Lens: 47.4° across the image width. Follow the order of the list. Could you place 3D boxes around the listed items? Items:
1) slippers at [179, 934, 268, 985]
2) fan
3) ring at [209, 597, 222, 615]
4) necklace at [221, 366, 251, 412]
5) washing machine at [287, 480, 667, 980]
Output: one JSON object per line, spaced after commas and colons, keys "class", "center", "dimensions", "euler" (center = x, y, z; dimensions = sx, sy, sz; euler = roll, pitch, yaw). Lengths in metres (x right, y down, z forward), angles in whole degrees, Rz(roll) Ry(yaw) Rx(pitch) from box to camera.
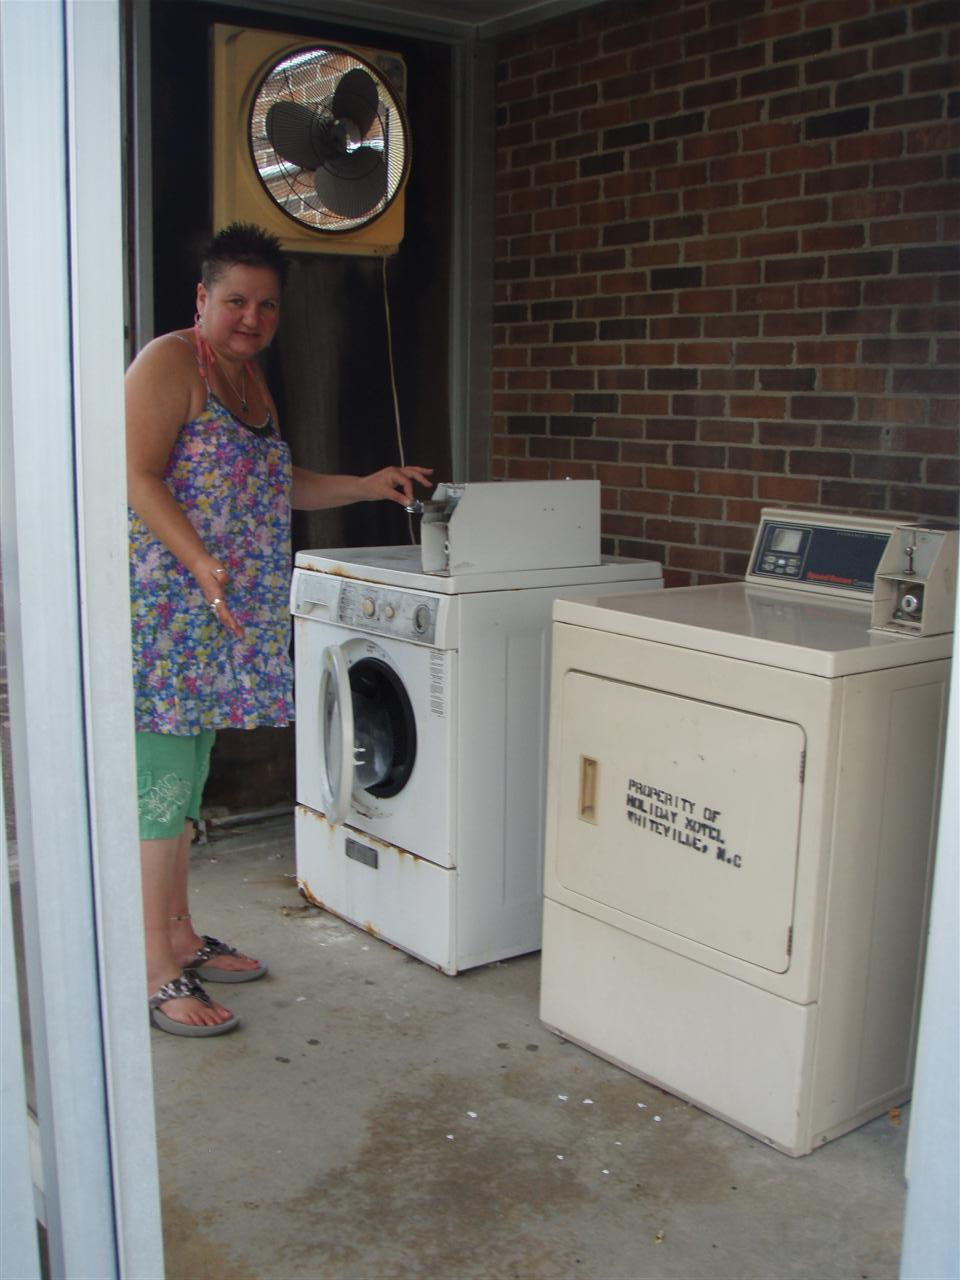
{"class": "slippers", "center": [-0.608, 0.768, 2.635], "dimensions": [0.206, 0.061, 0.081], "euler": [2, 6, 33]}
{"class": "fan", "center": [-0.500, -1.518, 3.367], "dimensions": [0.646, 0.604, 0.177], "euler": [-10, 25, -31]}
{"class": "ring", "center": [-0.508, -0.070, 2.126], "dimensions": [0.019, 0.020, 0.048], "euler": [-2, 8, -15]}
{"class": "necklace", "center": [-0.582, -0.597, 2.602], "dimensions": [0.028, 0.119, 0.083], "euler": [-1, -2, 16]}
{"class": "washing machine", "center": [-0.178, 0.101, 3.353], "dimensions": [1.119, 1.577, 1.063], "euler": [-4, 10, -33]}
